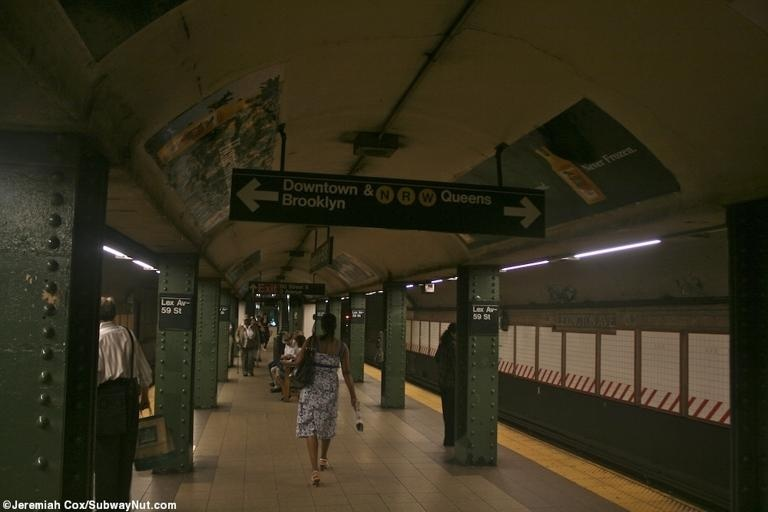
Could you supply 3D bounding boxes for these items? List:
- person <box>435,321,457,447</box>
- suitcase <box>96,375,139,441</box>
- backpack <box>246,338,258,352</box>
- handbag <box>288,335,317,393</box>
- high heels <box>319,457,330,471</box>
[{"bbox_3d":[1.143,2.406,10.445,0.346,2.280,0.737,1,-8,5],"label":"person"},{"bbox_3d":[-2.840,1.629,6.073,0.152,0.613,0.474,-4,-10,37],"label":"suitcase"},{"bbox_3d":[-4.842,3.267,20.579,0.402,0.220,0.552,3,-2,7],"label":"backpack"},{"bbox_3d":[-1.149,1.533,8.085,0.344,0.757,0.432,3,-8,-6],"label":"handbag"},{"bbox_3d":[-0.903,3.115,8.491,0.140,0.164,0.415,3,-2,-8],"label":"high heels"}]
